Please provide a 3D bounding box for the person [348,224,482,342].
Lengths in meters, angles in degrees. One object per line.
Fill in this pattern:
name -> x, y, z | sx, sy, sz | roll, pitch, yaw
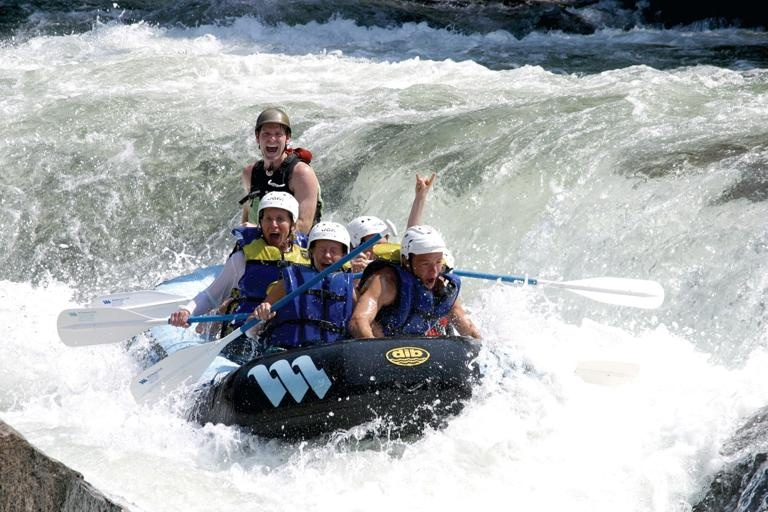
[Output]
person -> 0.278, 0.309, 9.451 | 0.854, 1.358, 0.976 | 42, 26, 30

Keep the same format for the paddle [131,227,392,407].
paddle -> -1.128, 0.654, 9.314 | 2.963, 0.194, 0.420 | -35, 58, 5

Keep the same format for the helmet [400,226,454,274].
helmet -> 0.425, -0.100, 9.232 | 0.394, 0.502, 0.444 | -3, 7, -14

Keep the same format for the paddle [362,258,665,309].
paddle -> 1.448, 0.295, 9.976 | 3.324, 0.393, 0.120 | 7, 10, 4

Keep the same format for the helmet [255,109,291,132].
helmet -> -1.164, -1.475, 10.144 | 0.299, 0.204, 0.324 | 1, 12, -1

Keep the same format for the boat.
boat -> -0.511, 1.112, 8.952 | 2.630, 0.666, 1.723 | -5, 8, -19

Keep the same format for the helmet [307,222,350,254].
helmet -> -0.545, -0.166, 9.446 | 0.284, 0.343, 0.276 | 4, -1, 0
